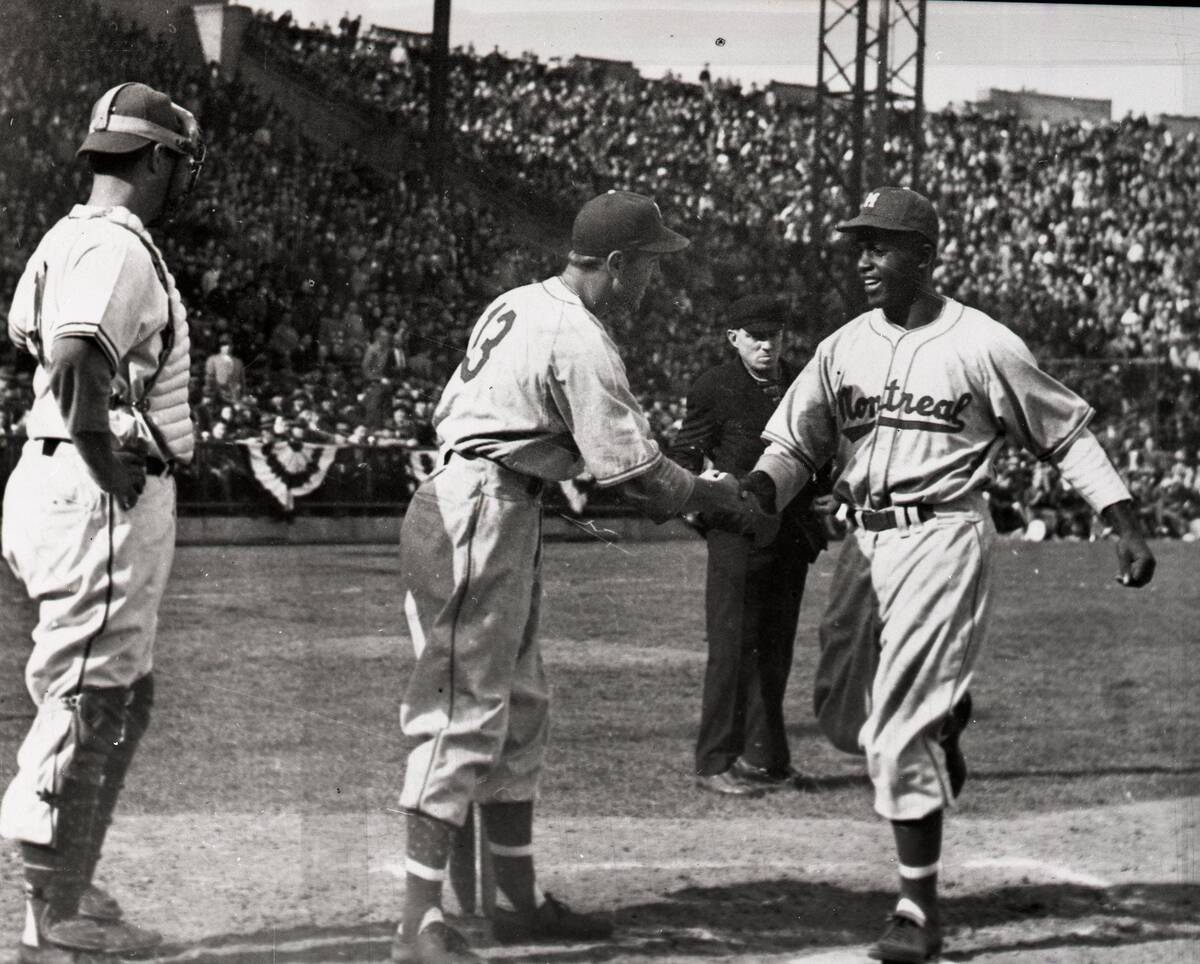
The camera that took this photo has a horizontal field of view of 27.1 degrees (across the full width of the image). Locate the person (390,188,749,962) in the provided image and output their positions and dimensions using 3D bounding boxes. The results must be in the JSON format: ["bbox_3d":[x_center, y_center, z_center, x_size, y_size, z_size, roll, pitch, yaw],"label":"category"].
[{"bbox_3d":[-0.240,0.265,7.715,0.951,2.304,0.537,-3,10,-34],"label":"person"}]

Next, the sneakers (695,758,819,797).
[{"bbox_3d":[0.543,1.075,8.937,0.426,0.177,0.154,7,-9,-12],"label":"sneakers"}]

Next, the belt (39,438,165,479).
[{"bbox_3d":[-1.485,-0.071,7.453,0.381,0.111,0.182,2,9,-10],"label":"belt"}]

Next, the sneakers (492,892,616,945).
[{"bbox_3d":[-0.169,1.359,7.885,0.412,0.176,0.148,-1,-6,-6],"label":"sneakers"}]

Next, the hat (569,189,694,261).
[{"bbox_3d":[0.081,-0.781,7.793,0.304,0.169,0.212,-7,23,-5],"label":"hat"}]

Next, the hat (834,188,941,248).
[{"bbox_3d":[0.926,-0.818,7.965,0.249,0.119,0.183,9,2,-13],"label":"hat"}]

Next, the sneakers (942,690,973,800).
[{"bbox_3d":[1.106,0.814,7.821,0.121,0.290,0.210,6,-24,12],"label":"sneakers"}]

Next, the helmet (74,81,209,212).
[{"bbox_3d":[-1.414,-1.032,7.706,0.310,0.336,0.404,24,16,29],"label":"helmet"}]

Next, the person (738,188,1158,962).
[{"bbox_3d":[1.011,0.260,7.908,1.142,2.322,0.728,10,11,40],"label":"person"}]
